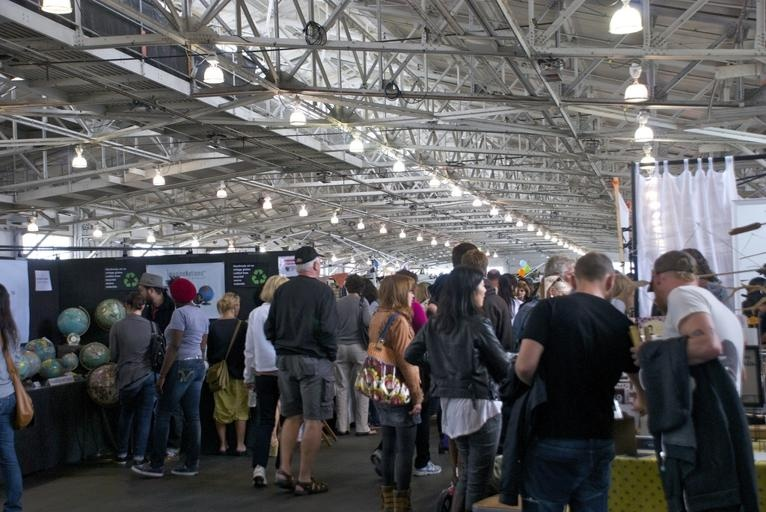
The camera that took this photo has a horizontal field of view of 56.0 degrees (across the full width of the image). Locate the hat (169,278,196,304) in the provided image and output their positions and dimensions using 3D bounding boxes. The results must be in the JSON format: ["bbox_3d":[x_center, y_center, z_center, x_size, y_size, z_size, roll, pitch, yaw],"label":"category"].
[{"bbox_3d":[-2.312,0.416,8.302,0.199,0.247,0.325,-16,-7,-27],"label":"hat"}]

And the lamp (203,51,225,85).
[{"bbox_3d":[-2.341,-2.583,9.909,0.227,0.539,0.608,-1,-4,-13],"label":"lamp"}]

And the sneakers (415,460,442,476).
[{"bbox_3d":[0.483,2.337,7.932,0.332,0.157,0.127,-4,-7,-10],"label":"sneakers"}]

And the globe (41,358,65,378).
[{"bbox_3d":[-4.060,1.375,8.887,0.207,0.197,0.244,-16,12,16],"label":"globe"}]

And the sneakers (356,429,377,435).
[{"bbox_3d":[-0.233,2.402,9.868,0.281,0.110,0.091,-3,-9,-2],"label":"sneakers"}]

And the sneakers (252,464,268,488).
[{"bbox_3d":[-1.311,2.332,7.597,0.109,0.126,0.286,1,-24,2],"label":"sneakers"}]

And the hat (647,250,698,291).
[{"bbox_3d":[2.058,0.098,5.181,0.334,0.184,0.253,-13,-23,43],"label":"hat"}]

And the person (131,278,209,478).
[{"bbox_3d":[-2.326,1.361,8.072,0.692,2.201,0.438,-1,-4,-14],"label":"person"}]

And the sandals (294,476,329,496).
[{"bbox_3d":[-0.751,2.373,7.446,0.327,0.140,0.152,-1,-7,-27],"label":"sandals"}]

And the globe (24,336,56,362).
[{"bbox_3d":[-4.346,1.158,9.128,0.328,0.362,0.328,5,1,33],"label":"globe"}]

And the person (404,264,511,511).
[{"bbox_3d":[0.658,1.107,5.924,0.817,2.027,0.362,-3,-4,17],"label":"person"}]

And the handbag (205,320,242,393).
[{"bbox_3d":[-1.938,1.228,8.761,0.472,0.861,0.167,-5,-5,38],"label":"handbag"}]

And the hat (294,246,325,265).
[{"bbox_3d":[-0.771,-0.011,7.459,0.165,0.122,0.224,6,29,41],"label":"hat"}]

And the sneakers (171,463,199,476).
[{"bbox_3d":[-2.288,2.414,8.158,0.349,0.139,0.125,3,-11,12],"label":"sneakers"}]

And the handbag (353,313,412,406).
[{"bbox_3d":[0.012,0.900,6.687,0.438,0.811,0.595,-3,4,-36],"label":"handbag"}]

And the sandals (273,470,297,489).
[{"bbox_3d":[-0.991,2.299,7.382,0.116,0.124,0.308,-2,-23,23],"label":"sandals"}]

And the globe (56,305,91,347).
[{"bbox_3d":[-4.346,0.987,10.103,0.423,0.529,0.359,-3,10,-28],"label":"globe"}]

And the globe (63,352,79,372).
[{"bbox_3d":[-4.067,1.366,9.325,0.241,0.259,0.231,1,20,-15],"label":"globe"}]

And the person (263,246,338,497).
[{"bbox_3d":[-0.810,1.169,7.333,0.690,2.529,0.382,-4,-4,28],"label":"person"}]

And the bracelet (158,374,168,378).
[{"bbox_3d":[-2.429,1.331,7.938,0.049,0.061,0.064,-25,-18,40],"label":"bracelet"}]
